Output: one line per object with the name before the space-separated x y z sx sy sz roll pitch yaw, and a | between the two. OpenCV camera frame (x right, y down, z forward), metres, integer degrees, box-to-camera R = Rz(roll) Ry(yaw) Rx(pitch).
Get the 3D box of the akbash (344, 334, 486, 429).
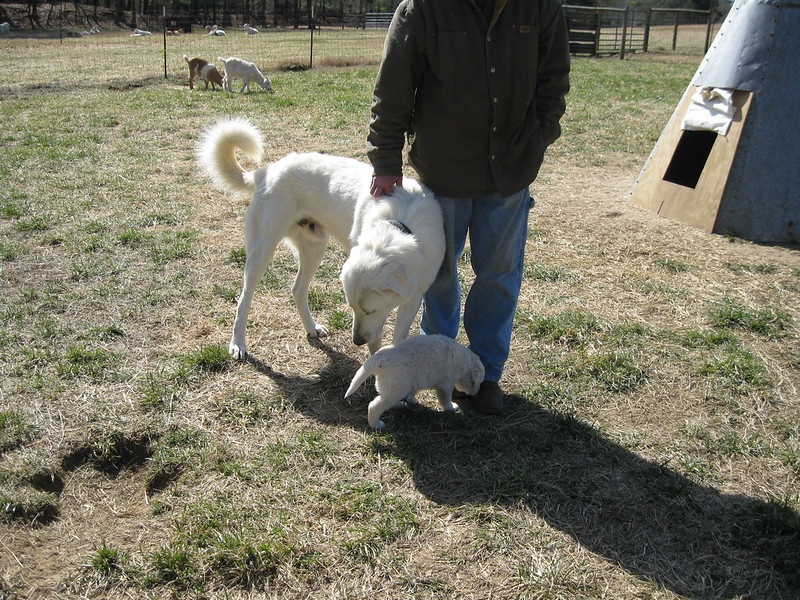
akbash | 0.160 0.617 5.519 1.074 0.702 0.428 -6 26 -19
